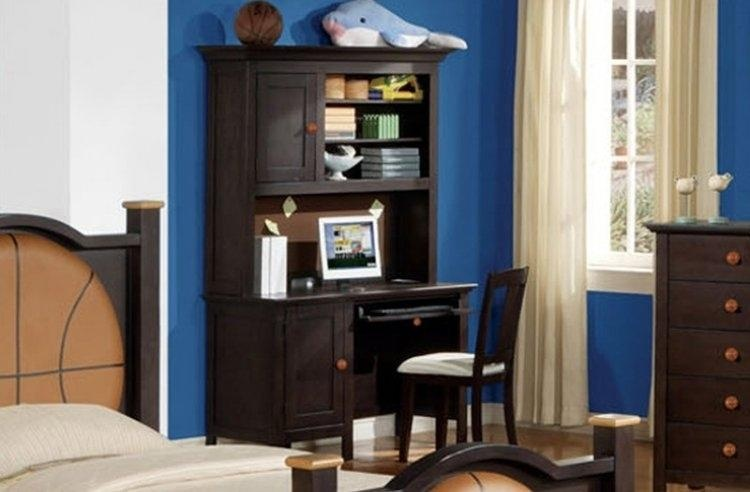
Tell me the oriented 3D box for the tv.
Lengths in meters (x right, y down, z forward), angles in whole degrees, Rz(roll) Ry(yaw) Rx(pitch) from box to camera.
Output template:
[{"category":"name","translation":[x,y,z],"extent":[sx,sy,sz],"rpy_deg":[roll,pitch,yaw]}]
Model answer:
[{"category":"tv","translation":[-0.173,0.048,6.530],"extent":[0.473,0.474,0.036],"rpy_deg":[-2,-5,-27]}]

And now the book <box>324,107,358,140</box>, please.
[{"category":"book","translation":[-0.225,-0.793,6.538],"extent":[0.230,0.188,0.255],"rpy_deg":[1,1,36]}]

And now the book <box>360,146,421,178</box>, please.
[{"category":"book","translation":[0.108,-0.549,6.682],"extent":[0.252,0.163,0.251],"rpy_deg":[-2,4,-39]}]
